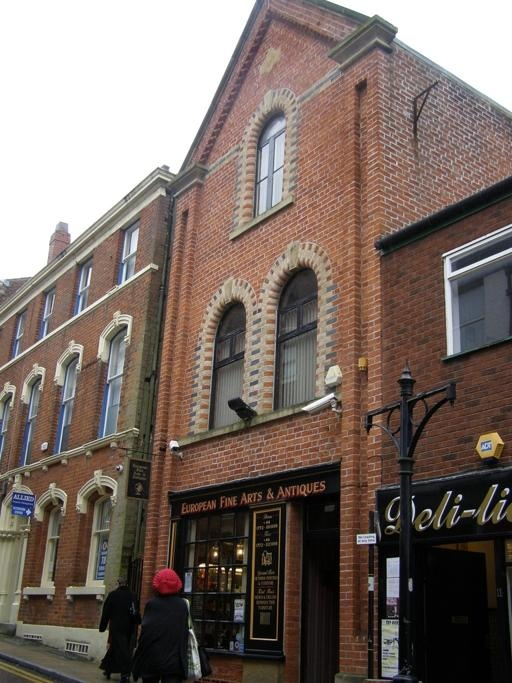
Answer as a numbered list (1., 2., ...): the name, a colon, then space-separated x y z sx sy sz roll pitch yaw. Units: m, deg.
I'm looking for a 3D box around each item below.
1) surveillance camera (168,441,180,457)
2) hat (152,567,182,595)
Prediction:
1. surveillance camera: -1.609 2.140 12.731 0.191 0.338 0.236 -13 -19 -6
2. hat: -0.621 1.713 4.548 0.184 0.158 0.264 7 -24 -7
